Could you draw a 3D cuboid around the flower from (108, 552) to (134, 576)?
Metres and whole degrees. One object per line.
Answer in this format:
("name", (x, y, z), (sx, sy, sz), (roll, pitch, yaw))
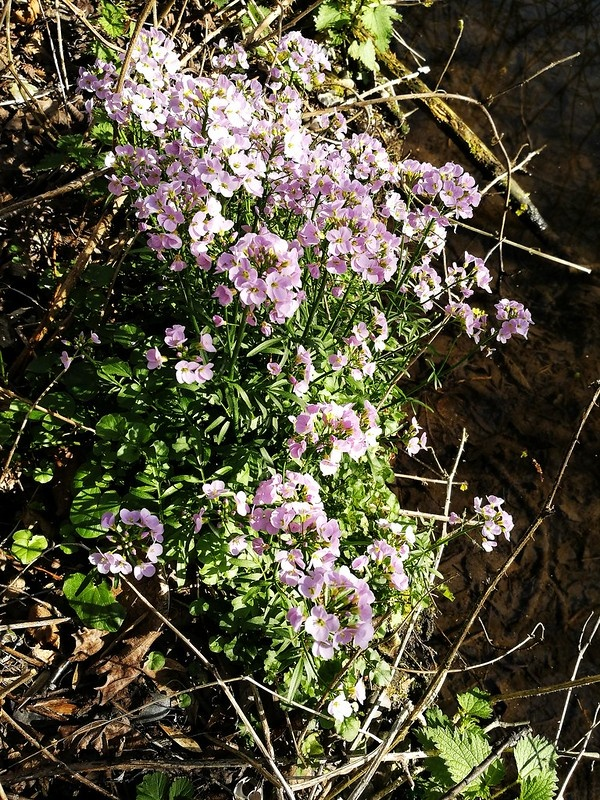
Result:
("flower", (-0.694, 0.641, 2.878), (0.067, 0.155, 0.081), (-25, 69, -19))

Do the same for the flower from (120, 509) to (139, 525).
("flower", (-0.633, 0.443, 2.796), (0.067, 0.111, 0.051), (2, 63, -7))

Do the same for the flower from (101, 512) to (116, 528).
("flower", (-0.722, 0.456, 2.817), (0.042, 0.051, 0.055), (13, 62, -31))

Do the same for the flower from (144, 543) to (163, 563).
("flower", (-0.558, 0.593, 2.861), (0.045, 0.126, 0.072), (19, 62, 2))

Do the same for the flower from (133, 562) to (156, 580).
("flower", (-0.591, 0.659, 2.856), (0.068, 0.151, 0.041), (-5, 65, -10))
